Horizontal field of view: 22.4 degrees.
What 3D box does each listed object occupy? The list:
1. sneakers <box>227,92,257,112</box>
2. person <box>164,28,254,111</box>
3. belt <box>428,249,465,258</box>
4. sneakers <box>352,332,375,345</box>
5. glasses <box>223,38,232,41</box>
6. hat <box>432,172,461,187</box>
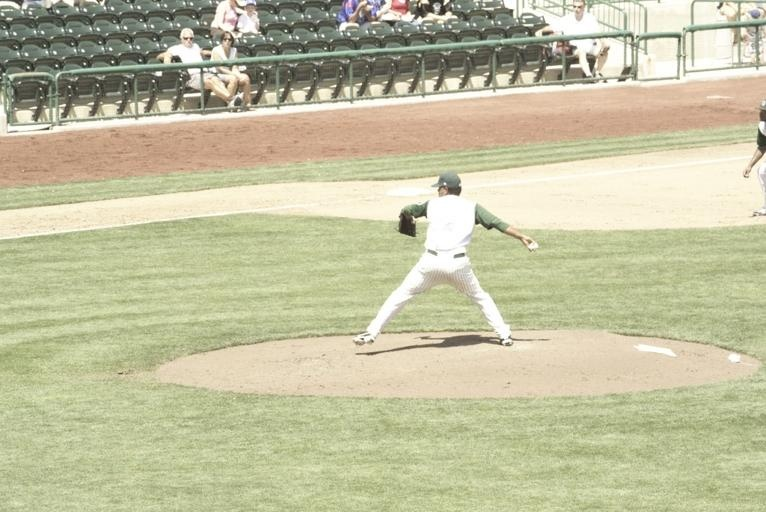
[{"bbox_3d":[-2.774,-2.956,37.337,0.625,0.232,0.215,2,11,28],"label":"sneakers"},{"bbox_3d":[-3.653,-3.713,37.362,2.112,1.114,1.221,24,31,28],"label":"person"},{"bbox_3d":[0.761,-0.051,23.691,0.463,0.093,0.150,1,5,2],"label":"belt"},{"bbox_3d":[-0.218,0.996,23.814,0.185,0.050,0.213,-4,16,13],"label":"sneakers"},{"bbox_3d":[-3.003,-4.166,36.940,0.141,0.071,0.093,0,5,-9],"label":"glasses"},{"bbox_3d":[0.781,-0.947,23.802,0.297,0.121,0.187,3,14,13],"label":"hat"}]
